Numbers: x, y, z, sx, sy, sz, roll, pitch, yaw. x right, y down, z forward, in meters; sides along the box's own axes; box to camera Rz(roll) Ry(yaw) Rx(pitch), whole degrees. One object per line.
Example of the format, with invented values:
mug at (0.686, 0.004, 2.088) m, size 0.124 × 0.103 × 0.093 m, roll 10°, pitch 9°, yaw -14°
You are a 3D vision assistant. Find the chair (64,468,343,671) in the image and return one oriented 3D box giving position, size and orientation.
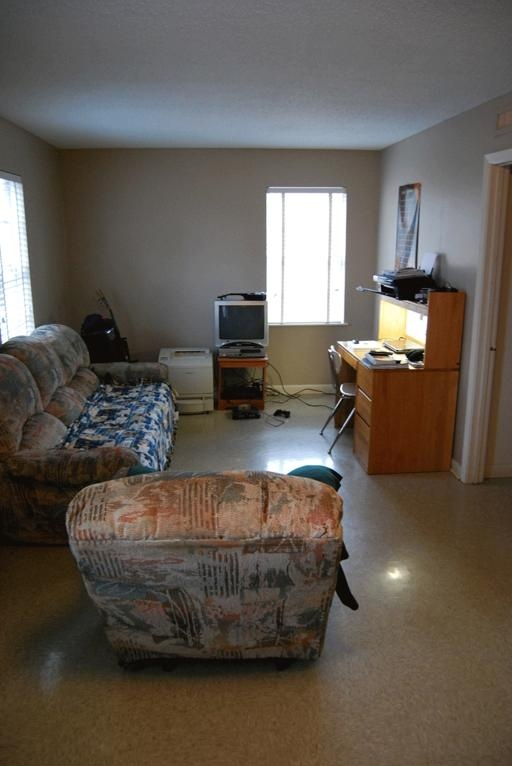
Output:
chair at (-0.152, 0.575, 2.010) m, size 1.007 × 0.942 × 0.555 m, roll 0°, pitch 36°, yaw 0°

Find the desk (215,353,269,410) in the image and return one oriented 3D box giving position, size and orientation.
desk at (-0.175, -0.004, 5.611) m, size 0.544 × 0.487 × 0.476 m, roll -1°, pitch 6°, yaw -20°

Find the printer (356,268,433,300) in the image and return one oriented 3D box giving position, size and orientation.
printer at (1.070, -0.716, 4.069) m, size 0.323 × 0.164 × 0.445 m, roll -2°, pitch 18°, yaw -3°

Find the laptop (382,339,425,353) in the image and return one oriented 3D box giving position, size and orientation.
laptop at (1.180, -0.301, 4.564) m, size 0.181 × 0.044 × 0.185 m, roll 1°, pitch 18°, yaw -2°

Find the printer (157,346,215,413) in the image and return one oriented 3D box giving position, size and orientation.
printer at (-0.575, -0.022, 5.325) m, size 0.566 × 0.649 × 0.539 m, roll -1°, pitch 12°, yaw -2°

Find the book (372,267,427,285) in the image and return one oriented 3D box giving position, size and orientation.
book at (1.101, -0.810, 4.130) m, size 0.236 × 0.109 × 0.265 m, roll -7°, pitch 17°, yaw -14°

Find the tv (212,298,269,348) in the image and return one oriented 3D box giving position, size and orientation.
tv at (-0.111, -0.617, 5.495) m, size 0.688 × 0.622 × 0.380 m, roll 0°, pitch 11°, yaw 1°
